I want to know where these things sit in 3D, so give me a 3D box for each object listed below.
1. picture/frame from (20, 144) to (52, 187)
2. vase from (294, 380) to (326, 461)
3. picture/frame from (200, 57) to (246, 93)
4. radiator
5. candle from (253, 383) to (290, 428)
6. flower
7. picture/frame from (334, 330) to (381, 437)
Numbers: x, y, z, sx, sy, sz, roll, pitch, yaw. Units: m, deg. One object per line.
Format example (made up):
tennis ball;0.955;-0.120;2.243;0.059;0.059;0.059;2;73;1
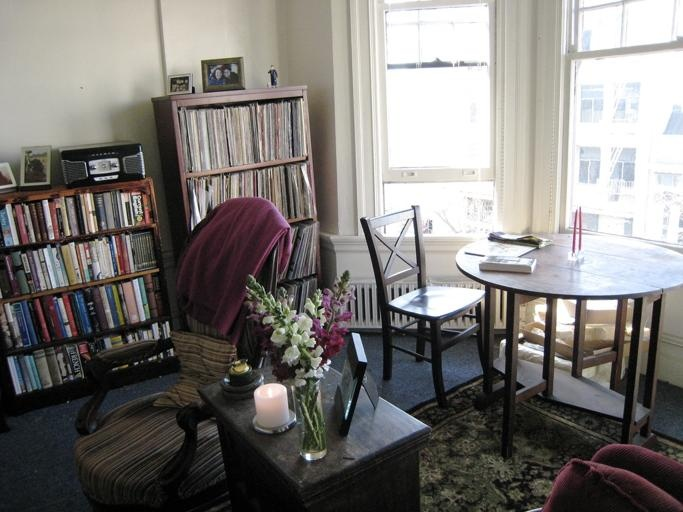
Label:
picture/frame;-1.893;-0.557;3.112;0.209;0.240;0.150;-15;20;-31
vase;-0.094;0.498;1.550;0.089;0.253;0.098;-6;17;-5
picture/frame;-0.789;-1.215;3.360;0.349;0.282;0.051;-1;9;8
radiator;0.533;0.354;3.791;1.188;0.477;0.139;0;34;8
candle;-0.225;0.504;1.727;0.123;0.139;0.126;6;23;18
flower;-0.104;0.366;1.610;0.336;0.592;0.338;-7;3;34
picture/frame;0.037;0.413;1.631;0.111;0.309;0.192;5;16;-1
